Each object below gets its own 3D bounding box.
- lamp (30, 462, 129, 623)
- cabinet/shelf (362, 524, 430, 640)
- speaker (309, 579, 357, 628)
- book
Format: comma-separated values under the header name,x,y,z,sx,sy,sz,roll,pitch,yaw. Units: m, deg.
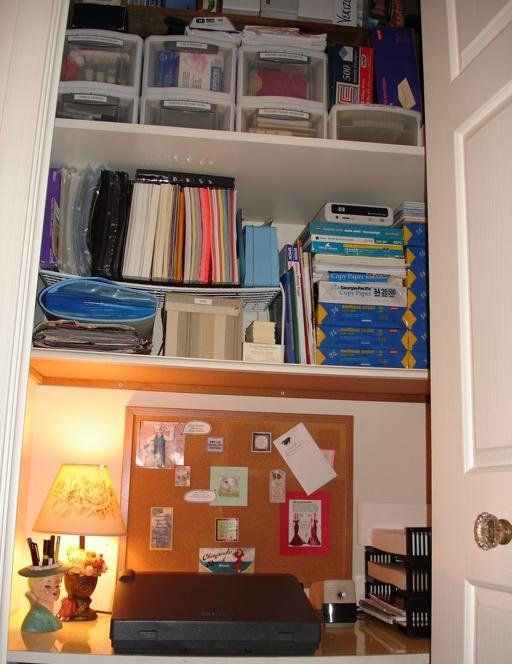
name,x,y,z,sx,sy,sz,roll,pitch,yaw
lamp,-0.457,0.531,1.470,0.224,0.373,0.228,-5,-12,30
cabinet/shelf,0.373,0.649,1.494,0.091,0.252,0.253,9,-17,-13
speaker,0.228,0.737,1.528,0.088,0.111,0.161,1,-29,-9
book,-0.189,-0.251,1.448,0.269,0.277,0.065,1,-12,-11
